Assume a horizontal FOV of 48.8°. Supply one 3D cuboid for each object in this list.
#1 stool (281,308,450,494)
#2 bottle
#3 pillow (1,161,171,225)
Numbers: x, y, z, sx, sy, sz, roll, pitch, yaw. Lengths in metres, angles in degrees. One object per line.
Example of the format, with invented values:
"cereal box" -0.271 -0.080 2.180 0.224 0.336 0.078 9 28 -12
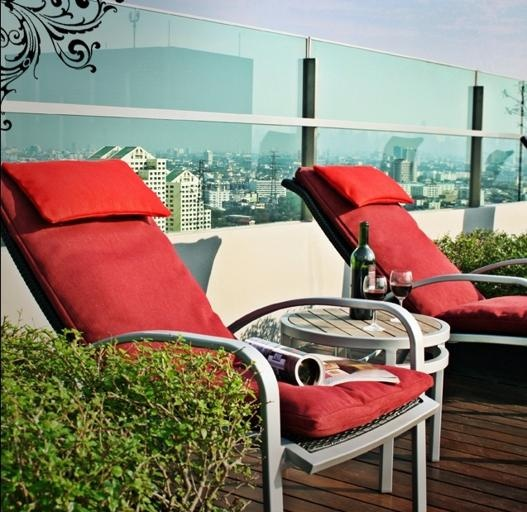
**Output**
"stool" 0.439 0.489 2.514 0.874 0.594 0.813 -2 4 -37
"bottle" 0.354 0.064 2.424 0.128 0.358 0.145 1 1 -15
"pillow" -0.705 -0.316 2.434 0.765 0.263 0.598 -8 15 -43
